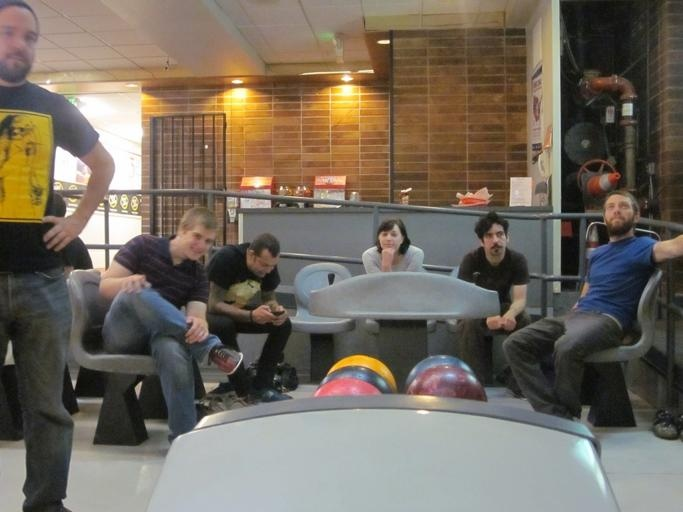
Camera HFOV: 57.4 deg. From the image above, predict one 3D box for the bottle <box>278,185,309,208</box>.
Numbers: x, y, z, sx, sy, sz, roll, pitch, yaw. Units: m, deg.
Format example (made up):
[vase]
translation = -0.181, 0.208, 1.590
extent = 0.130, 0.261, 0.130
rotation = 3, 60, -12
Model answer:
[bottle]
translation = -0.520, -0.670, 6.838
extent = 0.381, 0.234, 1.366
rotation = -2, 6, -5

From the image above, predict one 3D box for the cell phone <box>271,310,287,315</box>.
[cell phone]
translation = -0.329, 0.299, 3.284
extent = 0.066, 0.025, 0.131
rotation = -2, 6, -1

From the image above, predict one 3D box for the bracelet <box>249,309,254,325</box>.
[bracelet]
translation = -0.473, 0.316, 3.291
extent = 0.014, 0.054, 0.053
rotation = 4, 9, 12

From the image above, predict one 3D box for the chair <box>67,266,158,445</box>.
[chair]
translation = -0.983, 0.456, 2.823
extent = 0.418, 0.741, 0.408
rotation = 0, -3, 2

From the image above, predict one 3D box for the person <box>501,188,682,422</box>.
[person]
translation = 1.161, 0.211, 2.961
extent = 0.774, 1.019, 0.500
rotation = -1, 6, 5

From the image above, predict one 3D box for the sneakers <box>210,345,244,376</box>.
[sneakers]
translation = -0.489, 0.427, 2.596
extent = 0.154, 0.088, 0.066
rotation = 30, 5, 38
